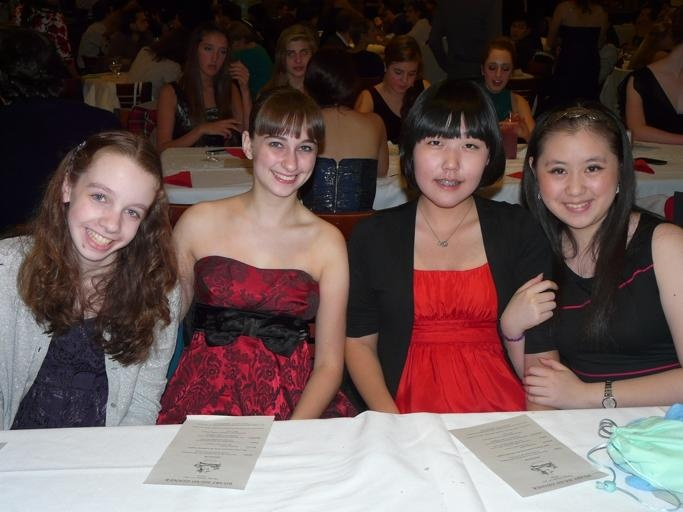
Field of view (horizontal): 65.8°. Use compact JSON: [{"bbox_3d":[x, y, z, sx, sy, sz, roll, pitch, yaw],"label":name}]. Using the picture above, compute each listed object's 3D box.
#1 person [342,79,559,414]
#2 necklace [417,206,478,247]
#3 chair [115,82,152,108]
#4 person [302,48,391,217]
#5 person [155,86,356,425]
[{"bbox_3d":[0.431,0.033,1.891,0.812,1.280,0.709,6,21,22],"label":"person"},{"bbox_3d":[0.381,-0.110,1.979,0.159,0.146,0.038,3,5,5],"label":"necklace"},{"bbox_3d":[-2.177,-1.673,5.512,0.395,0.280,0.127,2,8,17],"label":"chair"},{"bbox_3d":[-0.004,-0.815,3.480,0.682,1.055,0.598,-6,28,-5],"label":"person"},{"bbox_3d":[-0.235,0.064,1.920,0.769,1.285,0.750,6,26,-3],"label":"person"}]
